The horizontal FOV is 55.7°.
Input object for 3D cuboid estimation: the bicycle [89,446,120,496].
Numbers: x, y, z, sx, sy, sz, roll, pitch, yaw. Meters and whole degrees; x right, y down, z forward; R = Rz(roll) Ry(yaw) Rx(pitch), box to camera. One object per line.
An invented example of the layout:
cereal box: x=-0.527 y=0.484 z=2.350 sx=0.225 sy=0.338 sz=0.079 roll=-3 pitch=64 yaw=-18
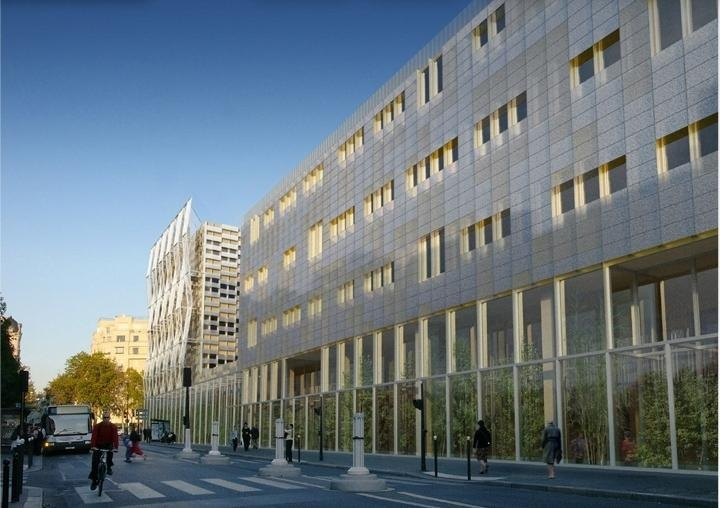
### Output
bicycle: x=-7.827 y=6.760 z=21.297 sx=0.828 sy=1.136 sz=1.897 roll=3 pitch=-25 yaw=-23

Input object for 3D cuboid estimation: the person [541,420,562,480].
person: x=6.649 y=6.840 z=23.700 sx=0.621 sy=2.007 sz=1.357 roll=-5 pitch=-21 yaw=14
